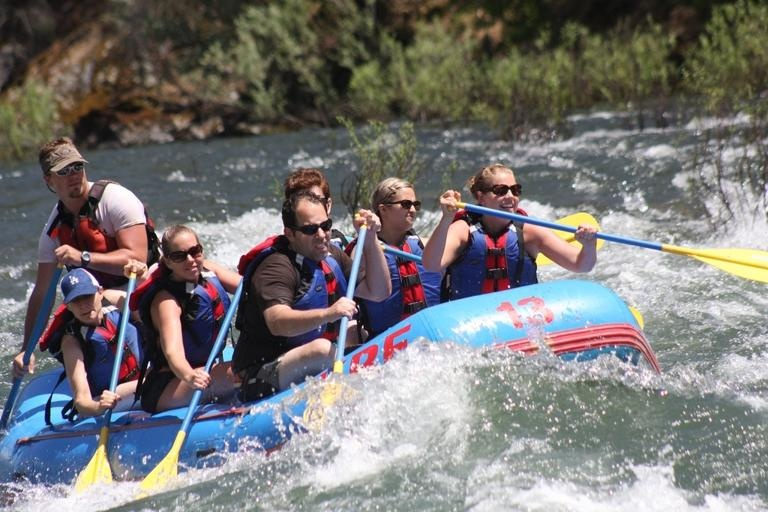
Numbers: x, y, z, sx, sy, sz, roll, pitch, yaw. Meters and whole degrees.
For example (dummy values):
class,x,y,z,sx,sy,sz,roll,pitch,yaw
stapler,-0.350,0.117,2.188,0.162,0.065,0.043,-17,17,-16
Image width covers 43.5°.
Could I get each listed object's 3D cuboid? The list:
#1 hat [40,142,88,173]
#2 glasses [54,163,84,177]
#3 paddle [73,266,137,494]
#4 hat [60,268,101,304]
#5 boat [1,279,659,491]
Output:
class,x,y,z,sx,sy,sz,roll,pitch,yaw
hat,-3.223,-0.967,9.553,0.297,0.250,0.397,-17,1,-28
glasses,-3.114,-0.853,9.542,0.271,0.120,0.075,-14,22,-24
paddle,-2.636,1.211,9.268,0.359,2.101,0.213,15,-15,-24
hat,-2.972,0.261,9.301,0.366,0.288,0.540,-20,12,-19
boat,-0.777,1.237,8.999,5.181,1.114,2.570,-10,2,15
